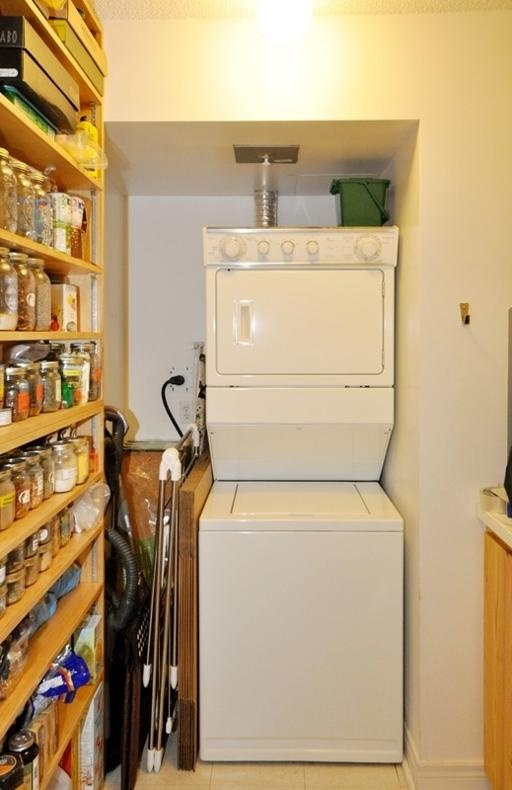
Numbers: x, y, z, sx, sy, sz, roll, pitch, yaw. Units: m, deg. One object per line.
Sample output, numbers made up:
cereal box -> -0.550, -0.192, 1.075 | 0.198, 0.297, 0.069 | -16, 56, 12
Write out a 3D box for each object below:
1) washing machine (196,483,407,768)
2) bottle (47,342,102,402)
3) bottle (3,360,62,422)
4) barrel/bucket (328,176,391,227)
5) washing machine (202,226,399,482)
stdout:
washing machine -> 0.154, 0.758, 2.038 | 0.689, 0.783, 0.613 | 0, 2, 9
bottle -> -0.464, -0.062, 1.569 | 0.103, 0.169, 0.168 | 1, 2, -2
bottle -> -0.480, -0.013, 1.283 | 0.069, 0.114, 0.118 | -1, -3, 17
barrel/bucket -> 0.360, -0.635, 1.998 | 0.174, 0.145, 0.189 | 1, 8, 0
washing machine -> 0.165, -0.246, 2.193 | 0.747, 1.003, 0.741 | -6, 25, -8
